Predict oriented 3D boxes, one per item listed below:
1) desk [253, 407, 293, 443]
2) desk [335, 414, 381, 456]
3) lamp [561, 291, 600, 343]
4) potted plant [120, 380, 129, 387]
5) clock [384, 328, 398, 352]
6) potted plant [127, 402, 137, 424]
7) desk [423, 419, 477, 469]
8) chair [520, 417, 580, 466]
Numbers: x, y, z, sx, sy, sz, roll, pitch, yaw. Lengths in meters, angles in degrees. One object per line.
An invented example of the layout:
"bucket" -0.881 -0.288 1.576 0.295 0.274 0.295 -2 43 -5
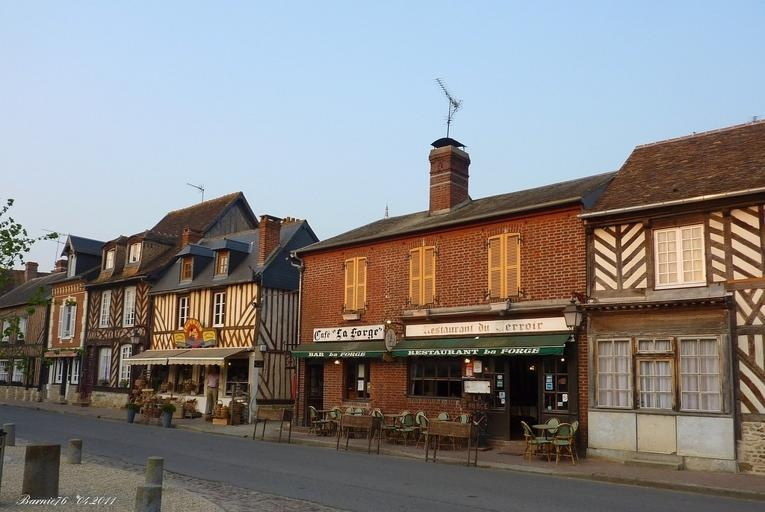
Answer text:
"desk" -3.837 5.913 27.565 1.452 1.177 0.508 -7 -26 20
"desk" -0.773 5.535 24.450 1.290 0.858 0.471 -4 -8 34
"lamp" 5.586 1.689 22.575 0.751 1.327 0.913 -1 -15 13
"potted plant" -12.079 5.932 36.726 0.479 0.356 0.382 2 -14 -9
"clock" 0.288 2.782 26.183 0.320 0.714 0.497 -4 -16 23
"potted plant" -9.920 6.162 31.066 0.405 0.782 0.805 6 -15 -14
"desk" 1.960 5.233 22.323 1.513 1.033 0.526 -5 -15 40
"chair" 4.720 5.217 22.160 1.261 1.204 1.417 -3 -24 17
